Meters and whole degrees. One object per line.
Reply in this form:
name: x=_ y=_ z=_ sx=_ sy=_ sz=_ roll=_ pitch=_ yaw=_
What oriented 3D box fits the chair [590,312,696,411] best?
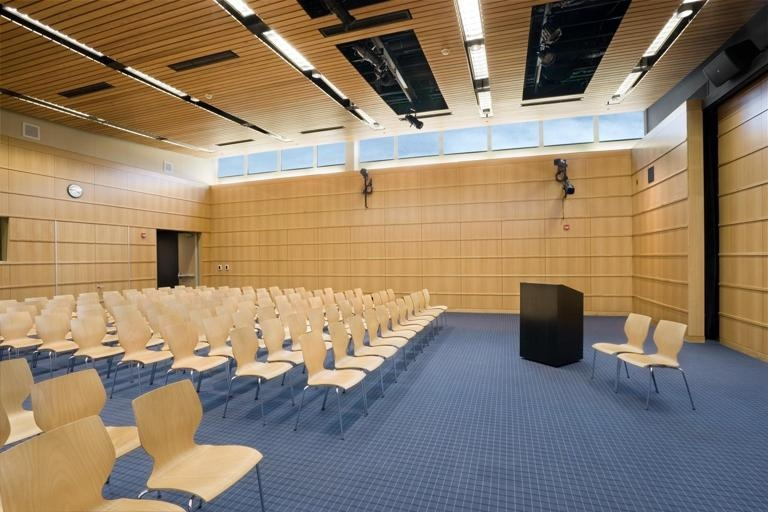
chair: x=4.572 y=1.882 z=7.855 sx=0.636 sy=0.919 sz=1.400 roll=0 pitch=-3 yaw=-5

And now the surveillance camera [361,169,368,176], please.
surveillance camera: x=-0.595 y=-2.668 z=14.446 sx=0.205 sy=0.186 sz=0.258 roll=12 pitch=-5 yaw=0

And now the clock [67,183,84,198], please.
clock: x=-8.815 y=-1.837 z=12.928 sx=0.047 sy=0.409 sz=0.388 roll=0 pitch=1 yaw=27

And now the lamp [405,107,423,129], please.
lamp: x=0.758 y=-3.493 z=11.689 sx=0.448 sy=0.446 sz=0.179 roll=-47 pitch=13 yaw=-28

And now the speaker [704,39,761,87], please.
speaker: x=6.730 y=-3.723 z=8.691 sx=0.428 sy=0.615 sz=0.850 roll=-1 pitch=0 yaw=-6

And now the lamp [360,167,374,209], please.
lamp: x=-0.536 y=-2.156 z=14.533 sx=0.413 sy=1.234 sz=0.414 roll=0 pitch=2 yaw=10
